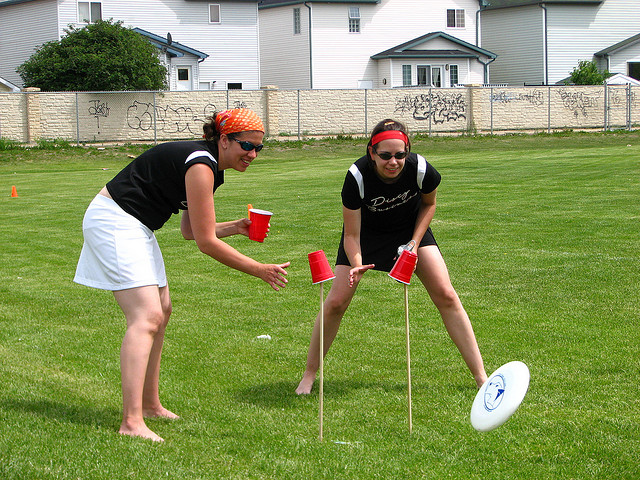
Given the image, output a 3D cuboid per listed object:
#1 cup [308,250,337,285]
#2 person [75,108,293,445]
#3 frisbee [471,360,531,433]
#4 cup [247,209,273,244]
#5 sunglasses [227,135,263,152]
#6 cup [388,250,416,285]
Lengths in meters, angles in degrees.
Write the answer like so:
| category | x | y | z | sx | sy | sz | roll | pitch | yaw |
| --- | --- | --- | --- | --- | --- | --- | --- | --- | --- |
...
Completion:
| category | x | y | z | sx | sy | sz | roll | pitch | yaw |
| --- | --- | --- | --- | --- | --- | --- | --- | --- | --- |
| cup | -0.006 | 0.182 | 4.901 | 0.182 | 0.206 | 0.172 | -12 | 3 | 1 |
| person | -0.994 | 0.242 | 4.957 | 1.232 | 2.170 | 0.718 | -11 | 15 | -25 |
| frisbee | 1.165 | 1.021 | 4.695 | 0.361 | 0.422 | 0.406 | -2 | 13 | 12 |
| cup | -0.480 | -0.112 | 5.555 | 0.203 | 0.225 | 0.190 | 5 | 1 | 0 |
| sunglasses | -0.476 | -0.644 | 4.906 | 0.131 | 0.044 | 0.116 | 38 | 20 | 31 |
| cup | 0.610 | 0.192 | 5.086 | 0.188 | 0.218 | 0.187 | 21 | 6 | -2 |
